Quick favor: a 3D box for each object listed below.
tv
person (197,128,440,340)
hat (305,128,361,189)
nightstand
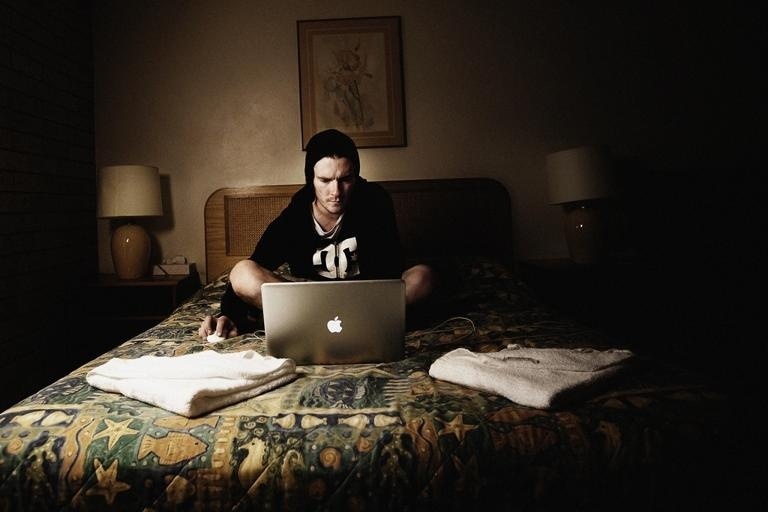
[{"bbox_3d":[-0.137,0.138,1.544,0.390,0.253,0.295,-3,21,-10],"label":"tv"},{"bbox_3d":[-0.283,-0.091,2.171,0.910,0.755,0.576,-3,5,-19],"label":"person"},{"bbox_3d":[-0.217,-0.426,2.252,0.179,0.190,0.196,-4,3,-43],"label":"hat"},{"bbox_3d":[-1.136,0.249,2.570,0.311,0.295,0.238,3,4,-21],"label":"nightstand"}]
